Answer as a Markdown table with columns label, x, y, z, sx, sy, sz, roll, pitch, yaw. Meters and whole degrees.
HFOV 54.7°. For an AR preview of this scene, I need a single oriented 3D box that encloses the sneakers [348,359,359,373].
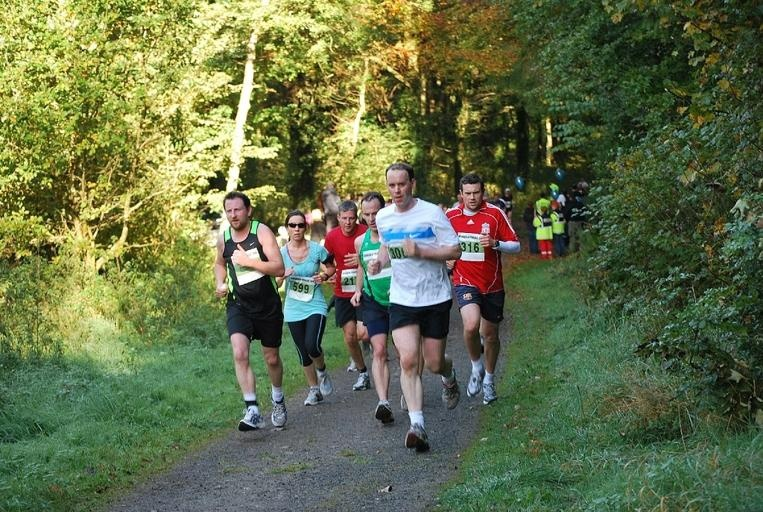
| label | x | y | z | sx | sy | sz | roll | pitch | yaw |
| --- | --- | --- | --- | --- | --- | --- | --- | --- | --- |
| sneakers | -0.513 | 1.896 | 12.577 | 0.104 | 0.246 | 0.337 | -1 | -14 | 3 |

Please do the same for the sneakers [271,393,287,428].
| label | x | y | z | sx | sy | sz | roll | pitch | yaw |
| --- | --- | --- | --- | --- | --- | --- | --- | --- | --- |
| sneakers | -1.339 | 2.023 | 9.651 | 0.162 | 0.504 | 0.191 | 3 | -30 | -22 |

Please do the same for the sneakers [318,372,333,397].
| label | x | y | z | sx | sy | sz | roll | pitch | yaw |
| --- | --- | --- | --- | --- | --- | --- | --- | --- | --- |
| sneakers | -0.828 | 1.843 | 10.695 | 0.143 | 0.435 | 0.179 | -10 | -2 | -30 |

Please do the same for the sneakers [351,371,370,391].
| label | x | y | z | sx | sy | sz | roll | pitch | yaw |
| --- | --- | --- | --- | --- | --- | --- | --- | --- | --- |
| sneakers | -0.305 | 1.911 | 11.186 | 0.134 | 0.292 | 0.383 | -3 | -10 | 28 |

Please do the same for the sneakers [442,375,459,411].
| label | x | y | z | sx | sy | sz | roll | pitch | yaw |
| --- | --- | --- | --- | --- | --- | --- | --- | --- | --- |
| sneakers | 0.852 | 1.683 | 9.262 | 0.159 | 0.496 | 0.201 | -3 | -10 | 31 |

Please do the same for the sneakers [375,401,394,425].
| label | x | y | z | sx | sy | sz | roll | pitch | yaw |
| --- | --- | --- | --- | --- | --- | --- | --- | --- | --- |
| sneakers | 0.021 | 1.940 | 9.117 | 0.147 | 0.197 | 0.426 | -3 | -36 | 3 |

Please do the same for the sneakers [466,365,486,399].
| label | x | y | z | sx | sy | sz | roll | pitch | yaw |
| --- | --- | --- | --- | --- | --- | --- | --- | --- | --- |
| sneakers | 1.227 | 1.651 | 9.659 | 0.170 | 0.200 | 0.436 | 1 | 22 | 18 |

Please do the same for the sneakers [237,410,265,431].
| label | x | y | z | sx | sy | sz | roll | pitch | yaw |
| --- | --- | --- | --- | --- | --- | --- | --- | --- | --- |
| sneakers | -1.603 | 2.027 | 9.081 | 0.150 | 0.204 | 0.403 | -5 | -14 | 21 |
